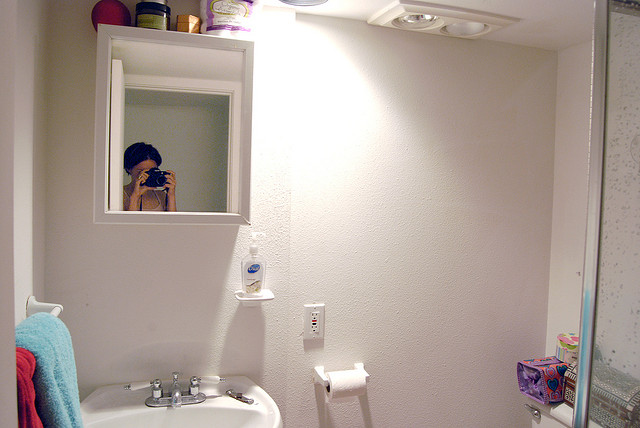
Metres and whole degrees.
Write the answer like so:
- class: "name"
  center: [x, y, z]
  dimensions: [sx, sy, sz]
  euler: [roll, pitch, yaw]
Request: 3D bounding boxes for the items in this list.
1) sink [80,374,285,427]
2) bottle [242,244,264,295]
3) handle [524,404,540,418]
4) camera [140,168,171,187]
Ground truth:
- class: "sink"
  center: [-0.528, 0.725, 1.820]
  dimensions: [0.425, 0.093, 0.273]
  euler: [-1, -16, -4]
- class: "bottle"
  center: [-0.255, 0.216, 1.926]
  dimensions: [0.088, 0.195, 0.045]
  euler: [3, 0, -7]
- class: "handle"
  center: [0.938, 0.870, 2.213]
  dimensions: [0.046, 0.054, 0.077]
  euler: [3, -1, -6]
- class: "camera"
  center: [-0.575, -0.114, 1.775]
  dimensions: [0.114, 0.070, 0.060]
  euler: [0, 0, -25]
